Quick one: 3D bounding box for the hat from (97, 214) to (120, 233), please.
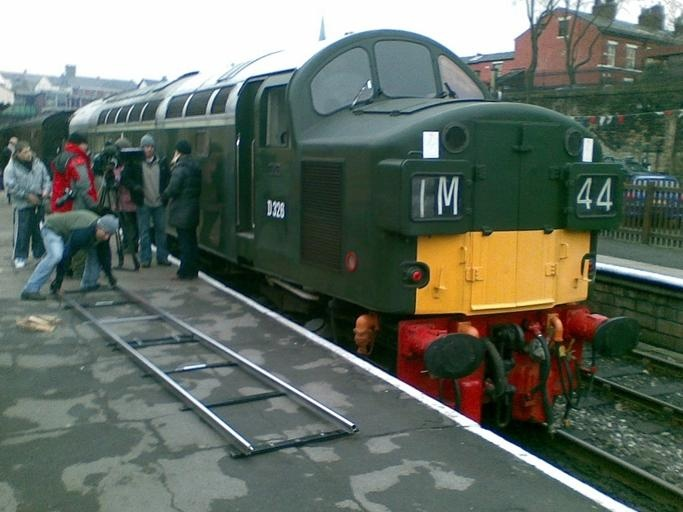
[{"bbox_3d":[-3.229,-0.458,7.862,0.223,0.241,0.291,-14,47,-40],"label":"hat"}]

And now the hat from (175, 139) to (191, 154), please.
[{"bbox_3d":[-2.535,-1.769,9.183,0.230,0.203,0.179,37,37,21],"label":"hat"}]

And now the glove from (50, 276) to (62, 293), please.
[{"bbox_3d":[-4.183,0.429,8.282,0.171,0.216,0.572,-2,-3,-30],"label":"glove"}]

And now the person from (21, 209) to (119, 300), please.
[{"bbox_3d":[-3.828,-0.102,8.421,1.700,1.428,1.086,-1,9,16],"label":"person"}]

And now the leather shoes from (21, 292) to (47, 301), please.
[{"bbox_3d":[-4.420,0.579,8.164,0.370,0.176,0.129,0,8,-15],"label":"leather shoes"}]
